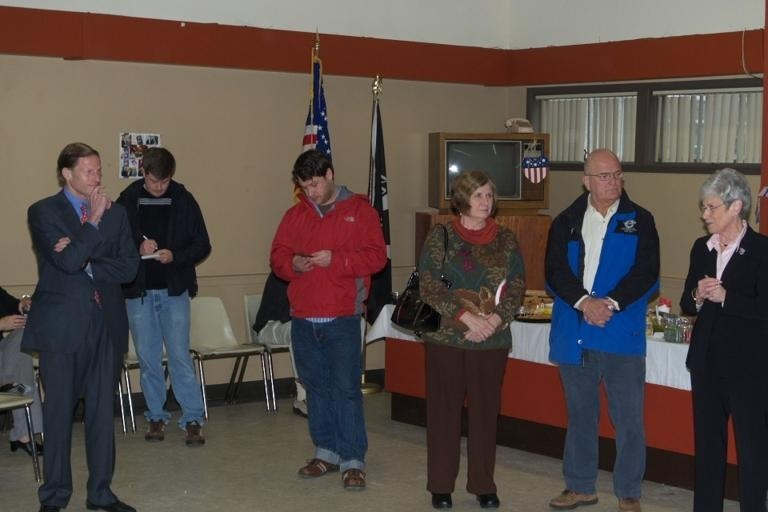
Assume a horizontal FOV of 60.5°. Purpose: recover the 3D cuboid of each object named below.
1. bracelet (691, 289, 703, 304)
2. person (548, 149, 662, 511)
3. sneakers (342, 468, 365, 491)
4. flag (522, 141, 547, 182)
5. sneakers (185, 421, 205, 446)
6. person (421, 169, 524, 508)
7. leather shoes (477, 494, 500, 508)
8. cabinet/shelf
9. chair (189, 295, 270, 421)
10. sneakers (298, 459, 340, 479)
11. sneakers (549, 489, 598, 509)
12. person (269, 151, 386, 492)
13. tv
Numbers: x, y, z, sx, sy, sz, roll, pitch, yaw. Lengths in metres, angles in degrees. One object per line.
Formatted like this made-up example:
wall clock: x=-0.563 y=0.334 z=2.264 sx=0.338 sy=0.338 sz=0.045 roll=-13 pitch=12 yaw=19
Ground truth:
bracelet: x=1.919 y=0.249 z=4.081 sx=0.067 sy=0.080 sz=0.071 roll=-1 pitch=13 yaw=-15
person: x=1.460 y=0.509 z=4.498 sx=0.735 sy=2.472 sz=0.400 roll=1 pitch=5 yaw=21
sneakers: x=-0.230 y=1.643 z=4.850 sx=0.174 sy=0.148 sz=0.145 roll=0 pitch=5 yaw=1
flag: x=1.693 y=-1.049 z=7.373 sx=0.286 sy=0.469 sz=0.052 roll=-2 pitch=30 yaw=18
sneakers: x=-1.650 y=1.558 z=5.753 sx=0.163 sy=0.160 sz=0.209 roll=-2 pitch=5 yaw=-18
person: x=0.584 y=0.595 z=4.478 sx=0.704 sy=2.318 sz=0.350 roll=1 pitch=5 yaw=11
leather shoes: x=0.729 y=1.705 z=4.546 sx=0.074 sy=0.074 sz=0.164 roll=-1 pitch=-6 yaw=-14
cabinet/shelf: x=1.272 y=-0.067 z=7.661 sx=1.132 sy=0.805 sz=0.596 roll=9 pitch=-1 yaw=-16
chair: x=-1.575 y=0.980 z=6.567 sx=0.714 sy=1.149 sz=0.821 roll=0 pitch=-3 yaw=-25
sneakers: x=-0.519 y=1.639 z=5.103 sx=0.268 sy=0.120 sz=0.127 roll=6 pitch=-7 yaw=-35
sneakers: x=1.303 y=1.687 z=4.589 sx=0.332 sy=0.142 sz=0.128 roll=1 pitch=-1 yaw=-10
person: x=-0.410 y=0.456 z=4.919 sx=0.843 sy=2.469 sz=0.408 roll=0 pitch=5 yaw=1
tv: x=1.302 y=-1.048 z=7.746 sx=1.250 sy=0.961 sz=0.710 roll=1 pitch=21 yaw=10
